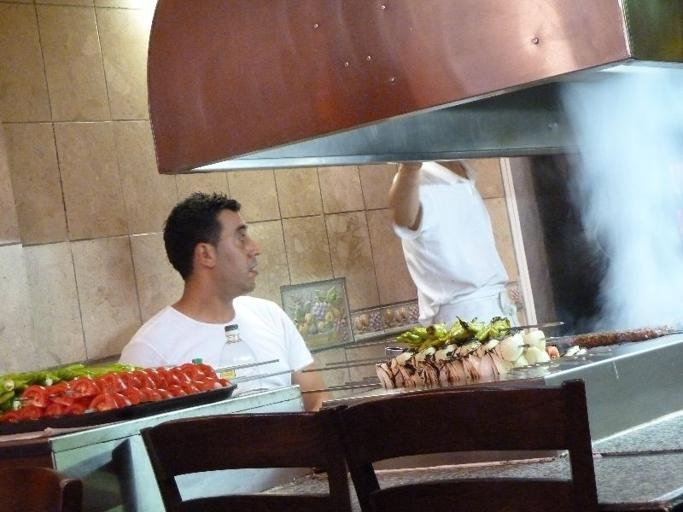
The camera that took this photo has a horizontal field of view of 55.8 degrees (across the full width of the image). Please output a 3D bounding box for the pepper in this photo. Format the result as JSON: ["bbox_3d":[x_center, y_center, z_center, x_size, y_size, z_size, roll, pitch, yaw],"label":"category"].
[{"bbox_3d":[0.312,0.203,1.681,0.219,0.055,0.139,-11,-4,-4],"label":"pepper"}]

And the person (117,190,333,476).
[{"bbox_3d":[-0.473,0.233,2.701,0.648,0.886,1.040,2,1,34],"label":"person"}]
